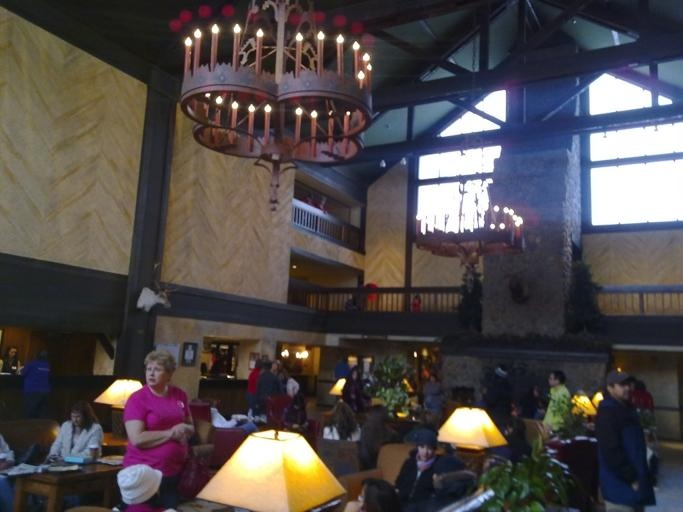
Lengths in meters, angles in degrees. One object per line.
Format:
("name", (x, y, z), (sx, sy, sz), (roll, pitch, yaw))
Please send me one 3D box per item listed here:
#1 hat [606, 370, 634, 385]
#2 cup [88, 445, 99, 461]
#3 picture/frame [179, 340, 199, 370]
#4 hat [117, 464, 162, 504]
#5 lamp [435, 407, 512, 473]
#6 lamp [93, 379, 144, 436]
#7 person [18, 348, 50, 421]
("hat", (2.863, 1.256, 5.794), (0.217, 0.138, 0.168), (-18, -13, 21))
("cup", (-2.791, 2.229, 6.321), (0.101, 0.141, 0.112), (-5, -18, 26))
("picture/frame", (-3.346, 2.165, 12.258), (0.095, 0.734, 0.521), (-4, -14, 33))
("hat", (-1.624, 1.870, 4.635), (0.270, 0.342, 0.178), (22, -26, 19))
("lamp", (1.345, 1.921, 5.994), (0.662, 0.744, 0.678), (5, 4, 28))
("lamp", (-2.927, 1.982, 7.484), (0.612, 0.665, 0.598), (6, 3, -29))
("person", (-4.942, 2.062, 9.064), (0.435, 1.055, 0.215), (9, -13, -31))
